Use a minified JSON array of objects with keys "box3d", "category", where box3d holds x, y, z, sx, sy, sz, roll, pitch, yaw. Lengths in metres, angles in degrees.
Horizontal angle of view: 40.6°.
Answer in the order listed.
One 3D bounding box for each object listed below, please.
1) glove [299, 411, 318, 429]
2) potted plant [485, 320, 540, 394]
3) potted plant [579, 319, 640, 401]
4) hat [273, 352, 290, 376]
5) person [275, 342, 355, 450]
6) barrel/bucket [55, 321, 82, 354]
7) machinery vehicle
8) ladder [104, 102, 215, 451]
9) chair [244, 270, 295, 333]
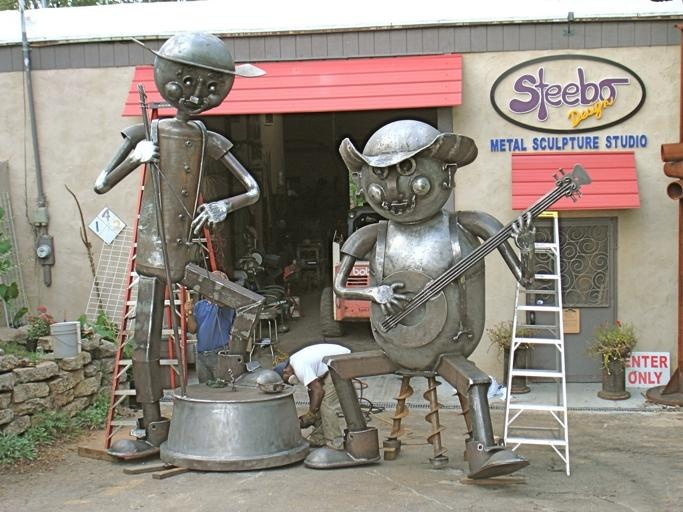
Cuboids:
[{"box3d":[-0.382,1.884,10.529,0.118,0.137,0.330,-1,-12,5],"category":"glove"},{"box3d":[2.344,1.453,13.019,0.741,0.963,0.715,0,-10,-38],"category":"potted plant"},{"box3d":[3.753,1.437,12.653,0.574,1.051,0.675,0,-1,19],"category":"potted plant"},{"box3d":[-0.774,1.353,11.287,0.141,0.277,0.219,33,30,29],"category":"hat"},{"box3d":[-0.262,1.542,10.299,1.171,1.340,0.797,-2,-3,11],"category":"person"},{"box3d":[-3.502,1.072,11.727,0.382,0.394,0.381,-5,2,0],"category":"barrel/bucket"},{"box3d":[0.128,0.195,15.246,0.916,2.342,3.181,0,-2,-1],"category":"machinery vehicle"},{"box3d":[-1.886,0.329,9.804,1.179,3.697,0.993,-1,-1,36],"category":"ladder"},{"box3d":[-1.329,0.824,16.628,0.970,1.475,1.043,0,2,7],"category":"chair"}]
